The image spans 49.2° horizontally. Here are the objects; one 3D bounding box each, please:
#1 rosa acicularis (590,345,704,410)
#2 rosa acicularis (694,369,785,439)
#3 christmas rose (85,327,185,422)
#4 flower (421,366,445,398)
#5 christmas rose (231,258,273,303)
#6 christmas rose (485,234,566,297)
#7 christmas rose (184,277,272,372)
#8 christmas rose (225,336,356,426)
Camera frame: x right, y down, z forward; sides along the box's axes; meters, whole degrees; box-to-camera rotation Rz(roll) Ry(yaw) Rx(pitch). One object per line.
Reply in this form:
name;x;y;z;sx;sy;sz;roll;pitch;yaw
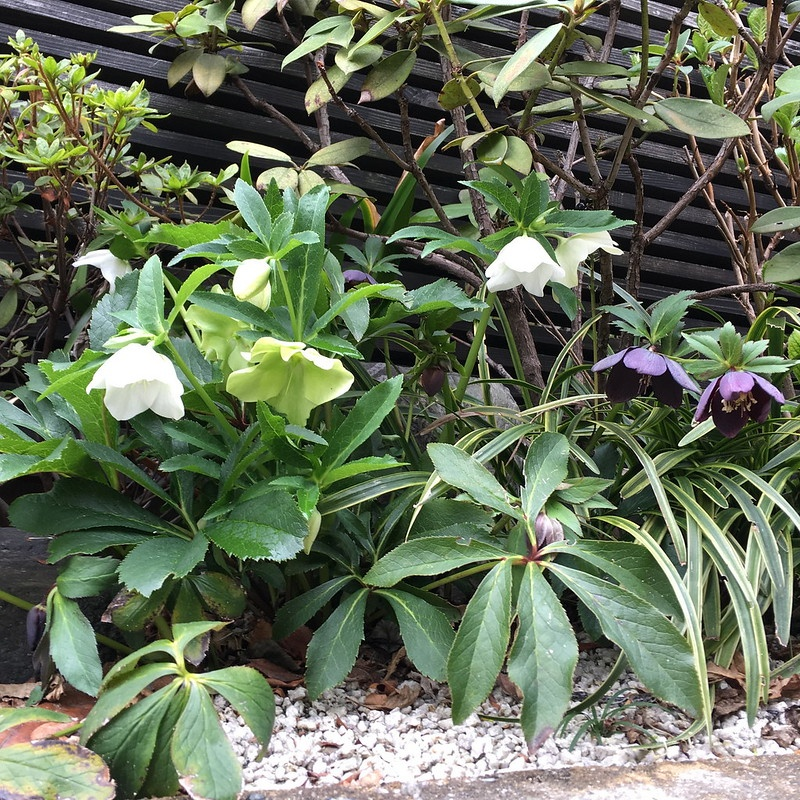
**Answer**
rosa acicularis;0.464;-0.040;1.655;0.190;0.110;0.085;12;27;21
rosa acicularis;0.633;-0.008;1.649;0.169;0.134;0.063;-12;58;12
christmas rose;-0.376;-0.041;1.338;0.165;0.124;0.154;2;11;6
flower;0.083;-0.043;1.883;0.065;0.055;0.066;1;-16;4
christmas rose;-0.221;-0.181;1.359;0.062;0.030;0.070;-4;47;55
christmas rose;0.227;-0.229;1.533;0.190;0.109;0.107;4;10;8
christmas rose;-0.296;-0.129;1.478;0.141;0.150;0.156;-5;9;-32
christmas rose;-0.175;-0.022;1.362;0.183;0.179;0.087;11;29;17
